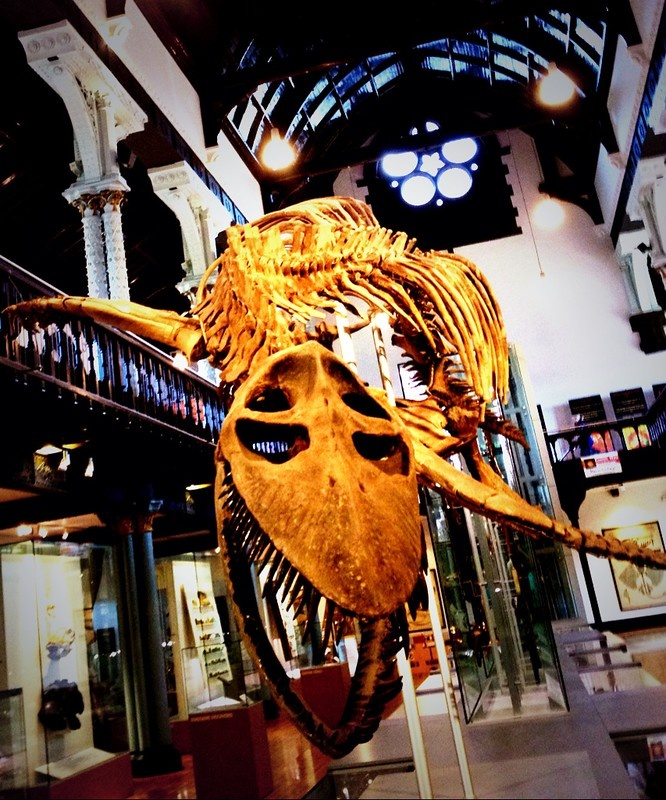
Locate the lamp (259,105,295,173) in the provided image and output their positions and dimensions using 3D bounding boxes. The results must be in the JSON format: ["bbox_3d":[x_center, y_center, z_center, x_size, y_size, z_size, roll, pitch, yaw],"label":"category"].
[{"bbox_3d":[-1.155,-5.217,12.022,0.565,0.589,1.218,-30,-26,-11],"label":"lamp"}]

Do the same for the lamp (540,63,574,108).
[{"bbox_3d":[5.178,-7.054,13.827,0.703,1.056,0.719,-4,11,42],"label":"lamp"}]
